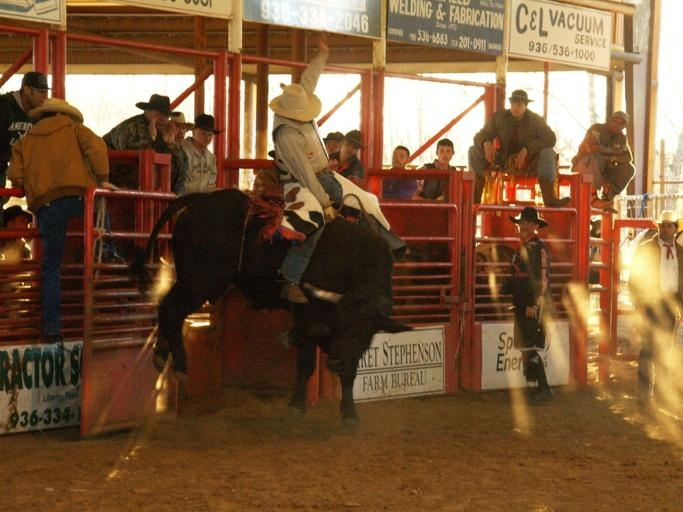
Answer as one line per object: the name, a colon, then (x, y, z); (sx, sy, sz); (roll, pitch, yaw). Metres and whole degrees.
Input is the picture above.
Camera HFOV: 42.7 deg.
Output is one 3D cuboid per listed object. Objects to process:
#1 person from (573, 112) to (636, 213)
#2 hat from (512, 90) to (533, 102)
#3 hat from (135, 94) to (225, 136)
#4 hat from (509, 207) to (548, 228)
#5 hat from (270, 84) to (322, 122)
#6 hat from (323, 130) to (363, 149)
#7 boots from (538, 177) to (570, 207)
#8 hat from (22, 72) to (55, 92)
person: (4.173, -1.549, 13.871); (0.896, 1.539, 0.977); (3, 5, 18)
hat: (2.476, -2.215, 12.072); (0.290, 0.188, 0.256); (3, 5, 12)
hat: (-1.981, -1.712, 10.385); (0.621, 0.185, 0.590); (29, 0, -4)
hat: (2.248, -0.446, 10.400); (0.309, 0.137, 0.263); (21, -7, -35)
hat: (-0.441, -1.475, 8.428); (0.409, 0.177, 0.369); (29, 54, 17)
hat: (0.086, -1.670, 12.609); (0.428, 0.188, 0.317); (-18, -25, 36)
boots: (2.822, -0.813, 11.507); (0.376, 0.459, 0.240); (-6, -6, 5)
hat: (-3.332, -1.919, 9.570); (0.235, 0.140, 0.177); (0, 9, -34)
